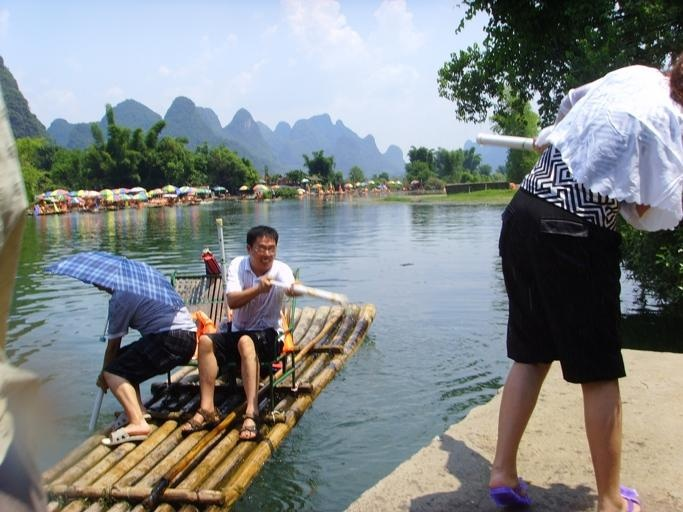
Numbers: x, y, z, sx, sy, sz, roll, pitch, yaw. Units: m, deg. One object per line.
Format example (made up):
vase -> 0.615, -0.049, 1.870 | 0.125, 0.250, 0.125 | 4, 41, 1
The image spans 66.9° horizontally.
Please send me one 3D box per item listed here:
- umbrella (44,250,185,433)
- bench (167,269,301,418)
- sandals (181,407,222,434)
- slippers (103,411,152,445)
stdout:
umbrella -> -2.042, 0.924, 5.542 | 1.537, 2.208, 1.055 | -4, -19, 0
bench -> -1.388, 0.795, 6.295 | 1.706, 1.560, 0.785 | -2, -9, 2
sandals -> -1.213, 1.406, 4.527 | 0.366, 0.165, 0.129 | -4, 1, -43
slippers -> -1.800, 1.442, 4.303 | 0.271, 0.110, 0.159 | 7, -8, -44
